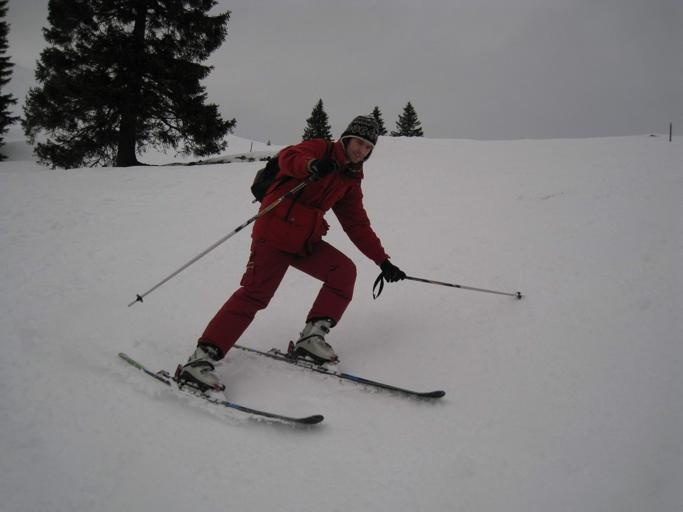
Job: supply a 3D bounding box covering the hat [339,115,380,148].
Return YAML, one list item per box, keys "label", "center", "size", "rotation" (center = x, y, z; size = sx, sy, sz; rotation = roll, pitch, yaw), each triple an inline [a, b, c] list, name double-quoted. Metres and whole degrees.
- label: "hat"
  center: [0.200, -1.198, 5.350]
  size: [0.352, 0.270, 0.355]
  rotation: [7, 12, -11]

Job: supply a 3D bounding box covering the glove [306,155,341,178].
- label: "glove"
  center: [-0.171, -0.797, 5.095]
  size: [0.202, 0.090, 0.161]
  rotation: [-8, 9, 18]

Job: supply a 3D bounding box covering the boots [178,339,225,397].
- label: "boots"
  center: [-1.207, 0.993, 5.084]
  size: [0.640, 0.358, 0.208]
  rotation: [0, -29, 48]
